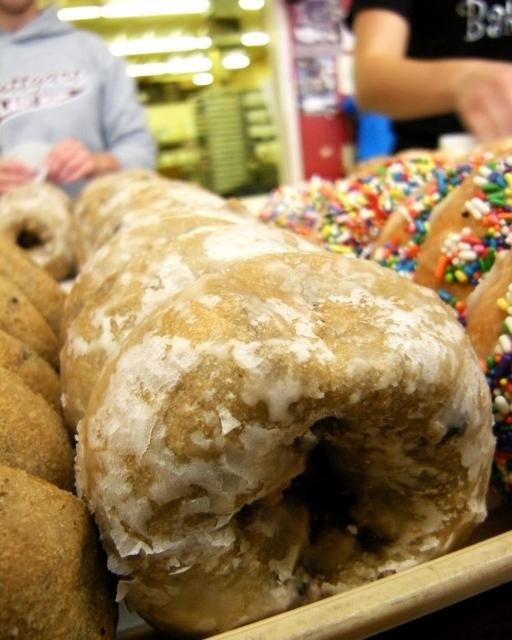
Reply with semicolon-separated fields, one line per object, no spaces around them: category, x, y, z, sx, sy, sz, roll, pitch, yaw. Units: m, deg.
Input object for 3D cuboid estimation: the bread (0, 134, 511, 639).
bread;-0.063;0.038;0.738;0.336;0.196;0.575;-14;14;-17
